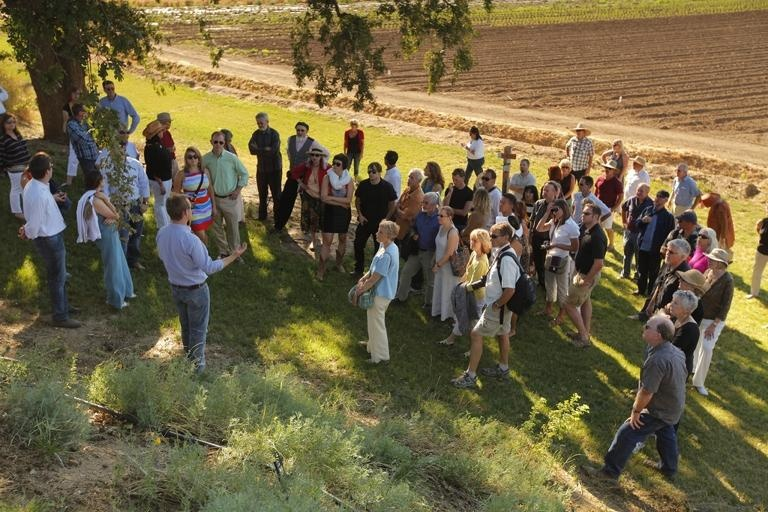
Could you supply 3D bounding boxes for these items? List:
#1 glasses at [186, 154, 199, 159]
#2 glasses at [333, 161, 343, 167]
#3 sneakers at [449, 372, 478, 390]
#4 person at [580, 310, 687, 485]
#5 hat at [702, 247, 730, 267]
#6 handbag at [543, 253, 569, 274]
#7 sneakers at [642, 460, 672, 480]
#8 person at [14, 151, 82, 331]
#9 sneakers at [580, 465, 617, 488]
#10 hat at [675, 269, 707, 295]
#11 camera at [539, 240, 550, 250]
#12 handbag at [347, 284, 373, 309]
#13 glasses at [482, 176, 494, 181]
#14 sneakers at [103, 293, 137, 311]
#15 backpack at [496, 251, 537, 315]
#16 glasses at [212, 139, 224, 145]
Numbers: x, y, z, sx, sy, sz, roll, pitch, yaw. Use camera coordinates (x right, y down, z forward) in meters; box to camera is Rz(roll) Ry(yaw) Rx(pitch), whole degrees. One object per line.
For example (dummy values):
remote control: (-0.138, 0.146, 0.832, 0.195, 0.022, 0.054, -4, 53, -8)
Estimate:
glasses: (-4.061, -2.103, 14.957, 0.169, 0.092, 0.038, 0, 21, -14)
glasses: (-1.028, -2.085, 15.805, 0.228, 0.149, 0.111, 3, 21, -7)
sneakers: (1.585, 2.481, 13.917, 0.526, 0.276, 0.247, 1, 7, -4)
person: (4.780, 2.562, 12.503, 1.466, 2.986, 0.718, -1, 21, -15)
hat: (6.808, -0.009, 14.260, 0.411, 0.336, 0.535, 14, 23, 21)
handbag: (3.875, 0.128, 15.696, 0.406, 0.408, 0.413, 14, 0, 44)
sneakers: (5.073, 3.912, 12.907, 0.366, 0.249, 0.148, 32, 73, 35)
person: (-6.441, -0.342, 13.408, 0.834, 3.196, 1.395, -7, 23, -28)
sneakers: (3.888, 4.013, 12.689, 0.586, 0.262, 0.300, 21, 11, 3)
hat: (6.031, 0.525, 13.734, 0.540, 0.289, 0.426, 31, 27, 1)
camera: (3.712, -0.269, 16.068, 0.258, 0.219, 0.191, 9, -8, -35)
handbag: (-0.447, 0.803, 14.068, 0.490, 0.501, 0.373, 7, 10, 10)
glasses: (2.411, -1.801, 16.206, 0.261, 0.130, 0.144, 8, 21, 8)
sneakers: (-5.382, 0.930, 14.262, 0.327, 0.236, 0.108, -28, 53, -26)
backpack: (2.553, 0.501, 13.574, 0.790, 1.122, 0.490, 8, 21, 7)
glasses: (-3.679, -2.531, 15.576, 0.244, 0.113, 0.118, -1, 22, -15)
